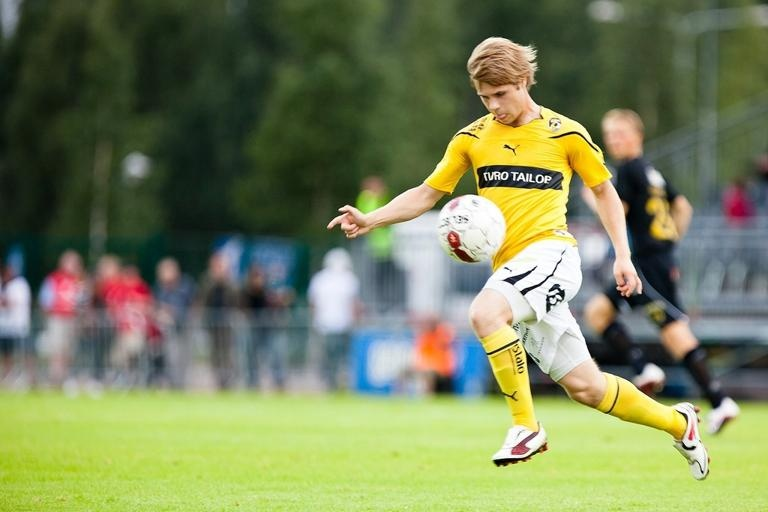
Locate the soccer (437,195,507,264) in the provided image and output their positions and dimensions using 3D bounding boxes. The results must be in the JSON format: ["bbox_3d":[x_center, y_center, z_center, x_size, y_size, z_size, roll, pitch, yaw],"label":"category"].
[{"bbox_3d":[0.712,-0.173,9.916,0.537,0.541,0.521,-11,-12,9],"label":"soccer"}]

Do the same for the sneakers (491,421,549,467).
[{"bbox_3d":[1.028,1.532,9.781,0.558,0.273,0.217,-29,9,-30],"label":"sneakers"}]
